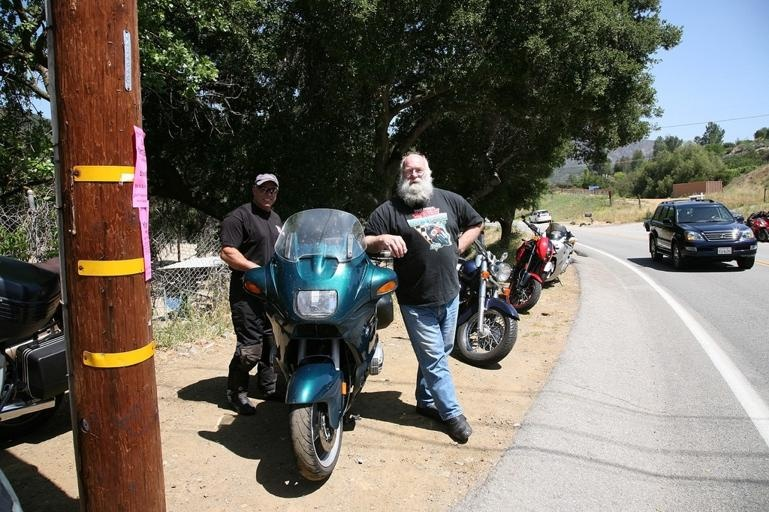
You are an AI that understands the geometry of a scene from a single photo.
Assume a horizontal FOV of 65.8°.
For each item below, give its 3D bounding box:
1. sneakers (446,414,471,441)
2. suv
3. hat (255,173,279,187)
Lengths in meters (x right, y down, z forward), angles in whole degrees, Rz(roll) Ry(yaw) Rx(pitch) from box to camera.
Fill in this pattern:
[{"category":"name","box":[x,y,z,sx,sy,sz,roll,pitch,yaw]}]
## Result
[{"category":"sneakers","box":[0.771,1.799,6.175,0.162,0.148,0.393,26,-4,-11]},{"category":"suv","box":[9.247,-0.508,17.376,1.793,1.966,3.318,0,11,3]},{"category":"hat","box":[-1.420,-0.893,7.052,0.226,0.139,0.356,4,3,-16]}]
